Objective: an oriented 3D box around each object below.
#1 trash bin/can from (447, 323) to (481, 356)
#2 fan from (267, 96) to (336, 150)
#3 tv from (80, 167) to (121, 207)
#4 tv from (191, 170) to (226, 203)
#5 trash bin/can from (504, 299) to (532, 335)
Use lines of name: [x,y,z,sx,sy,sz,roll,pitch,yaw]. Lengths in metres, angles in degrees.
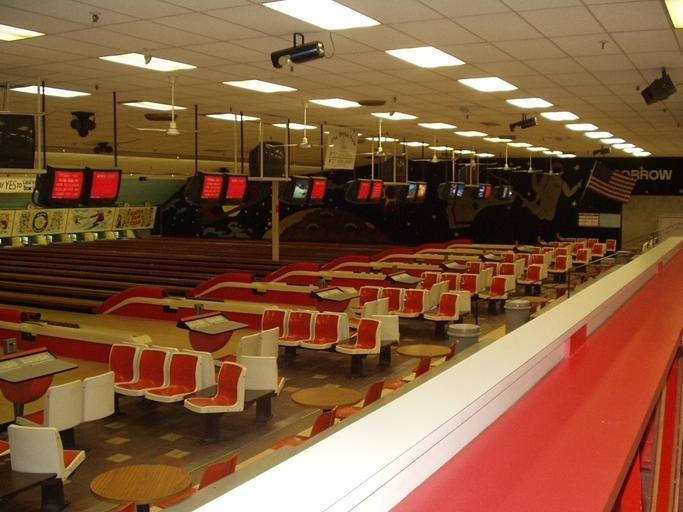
trash bin/can: [1.292,0.900,5.269,0.309,0.387,0.748,-6,4,13]
fan: [-0.872,-3.113,11.936,1.790,0.805,1.734,5,6,38]
tv: [-3.898,-1.071,7.778,0.486,0.591,0.756,7,10,11]
tv: [-2.500,-1.285,9.359,0.461,0.482,0.757,19,16,37]
trash bin/can: [1.911,0.663,5.472,0.290,0.378,0.530,-6,5,16]
